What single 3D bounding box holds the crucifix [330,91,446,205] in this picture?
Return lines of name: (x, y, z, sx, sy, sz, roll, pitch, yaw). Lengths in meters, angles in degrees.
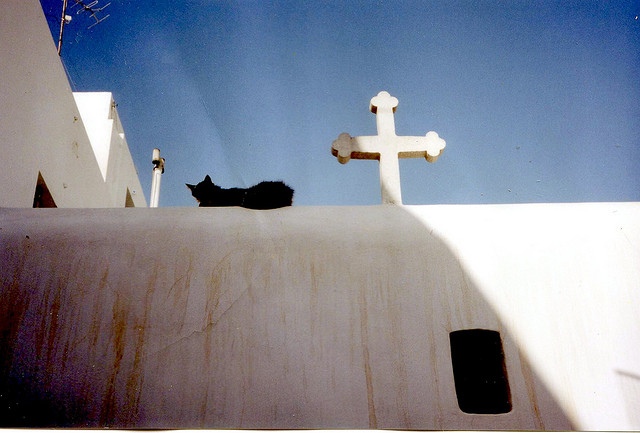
crucifix: (0.845, -0.901, 6.505, 1.277, 1.218, 0.707, -5, -2, 24)
